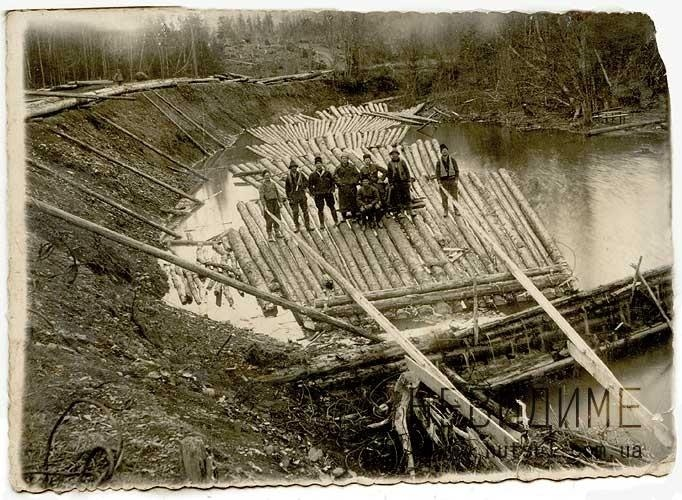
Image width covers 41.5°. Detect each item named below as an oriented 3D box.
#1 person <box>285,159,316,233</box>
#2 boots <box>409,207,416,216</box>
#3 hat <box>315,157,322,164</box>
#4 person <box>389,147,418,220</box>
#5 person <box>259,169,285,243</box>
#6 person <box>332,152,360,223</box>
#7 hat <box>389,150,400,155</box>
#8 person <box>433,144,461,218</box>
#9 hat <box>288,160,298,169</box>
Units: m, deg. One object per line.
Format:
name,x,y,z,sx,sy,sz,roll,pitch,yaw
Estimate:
person,-0.887,-1.117,19.033,0.572,1.445,0.408,0,-4,-28
boots,1.564,-0.831,19.483,0.134,0.053,0.178,8,34,-7
hat,-0.467,-1.867,18.743,0.122,0.129,0.132,-1,-5,2
person,1.291,-1.410,19.300,0.490,1.376,0.814,-3,-4,14
person,-1.539,-1.191,19.394,0.543,0.384,1.625,-3,-21,-5
person,0.143,-1.345,19.022,0.536,1.337,0.604,-2,-4,2
hat,1.119,-2.062,19.067,0.224,0.056,0.219,-7,10,-39
person,2.314,-1.512,19.571,0.481,1.569,1.398,-3,-4,8
hat,-1.005,-1.796,19.044,0.294,0.171,0.332,-6,3,-4
